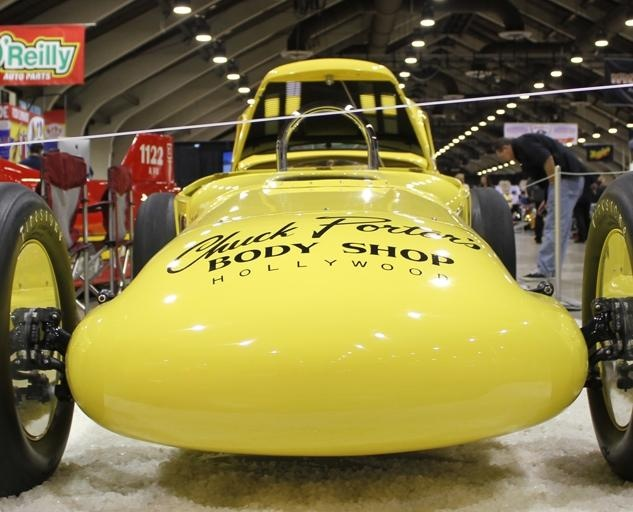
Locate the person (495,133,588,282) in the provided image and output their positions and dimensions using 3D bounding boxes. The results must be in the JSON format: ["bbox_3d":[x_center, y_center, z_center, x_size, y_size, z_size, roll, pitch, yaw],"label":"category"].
[{"bbox_3d":[1.805,-0.405,6.474,0.683,1.170,0.557,-4,-3,18],"label":"person"}]

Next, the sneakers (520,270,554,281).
[{"bbox_3d":[1.814,0.170,6.571,0.078,0.096,0.216,-15,5,-39],"label":"sneakers"}]
